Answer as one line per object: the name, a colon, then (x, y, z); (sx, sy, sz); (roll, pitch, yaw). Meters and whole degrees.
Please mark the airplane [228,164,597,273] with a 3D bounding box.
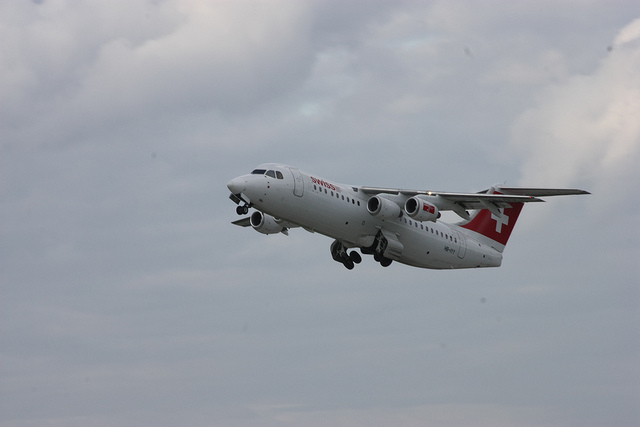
airplane: (3.597, -0.396, 55.756); (15.448, 13.836, 4.684); (17, 88, -24)
